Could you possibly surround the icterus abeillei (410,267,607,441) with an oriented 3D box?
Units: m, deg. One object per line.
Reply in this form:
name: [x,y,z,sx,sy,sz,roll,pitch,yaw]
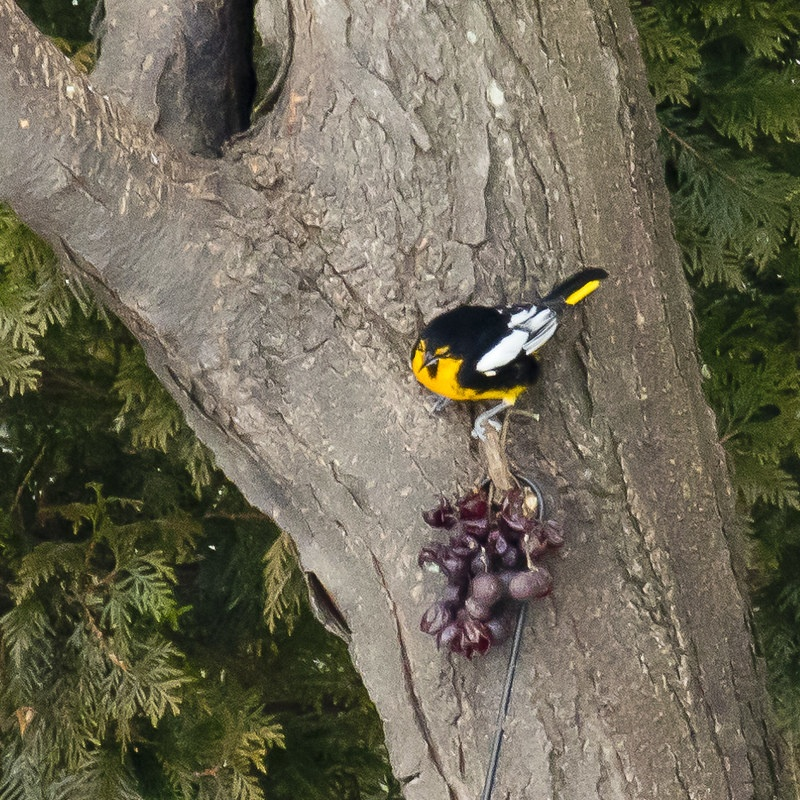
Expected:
icterus abeillei: [0.345,-0.191,6.709,0.382,0.404,0.750,39,106,23]
